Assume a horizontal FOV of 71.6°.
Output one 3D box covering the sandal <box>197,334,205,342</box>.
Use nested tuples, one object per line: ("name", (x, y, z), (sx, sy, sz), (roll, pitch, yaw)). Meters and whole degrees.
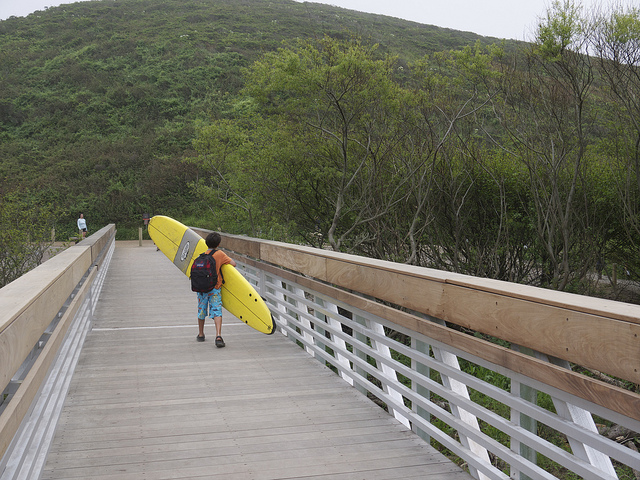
("sandal", (-1.642, 1.340, 6.053), (0.095, 0.087, 0.137), (-1, 3, -18))

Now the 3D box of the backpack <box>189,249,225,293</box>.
("backpack", (-1.517, 0.386, 5.820), (0.345, 0.518, 0.480), (-2, 9, 7))

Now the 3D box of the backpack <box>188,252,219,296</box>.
("backpack", (-1.517, 0.399, 5.749), (0.362, 0.522, 0.296), (-3, 3, 24))

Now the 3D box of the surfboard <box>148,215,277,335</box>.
("surfboard", (-2.165, 0.645, 8.473), (0.459, 0.899, 5.298), (-2, 26, -30))

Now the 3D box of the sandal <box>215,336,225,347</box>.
("sandal", (-1.327, 1.313, 5.799), (0.120, 0.145, 0.188), (-1, 3, -14))
